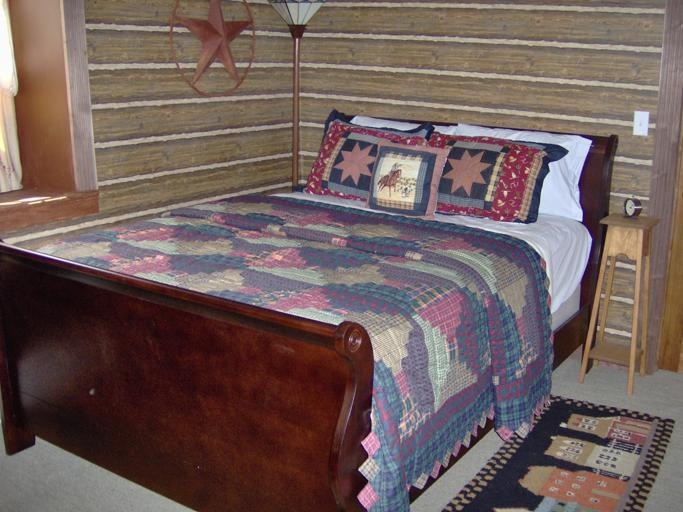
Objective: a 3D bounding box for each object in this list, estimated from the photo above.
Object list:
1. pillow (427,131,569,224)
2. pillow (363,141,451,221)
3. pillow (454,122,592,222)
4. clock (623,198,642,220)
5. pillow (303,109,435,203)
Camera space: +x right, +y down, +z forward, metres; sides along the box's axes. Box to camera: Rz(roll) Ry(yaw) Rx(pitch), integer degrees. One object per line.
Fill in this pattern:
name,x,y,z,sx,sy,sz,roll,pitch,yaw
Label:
pillow,0.807,-0.457,3.163,0.249,0.581,1.061,17,-5,-38
pillow,0.358,-0.408,2.982,0.523,0.377,0.130,9,2,25
pillow,1.037,-0.447,3.033,0.705,0.589,0.186,8,-2,16
clock,1.641,-0.272,3.037,0.086,0.106,0.162,13,14,24
pillow,0.166,-0.589,3.473,0.697,0.543,0.211,10,-14,35
